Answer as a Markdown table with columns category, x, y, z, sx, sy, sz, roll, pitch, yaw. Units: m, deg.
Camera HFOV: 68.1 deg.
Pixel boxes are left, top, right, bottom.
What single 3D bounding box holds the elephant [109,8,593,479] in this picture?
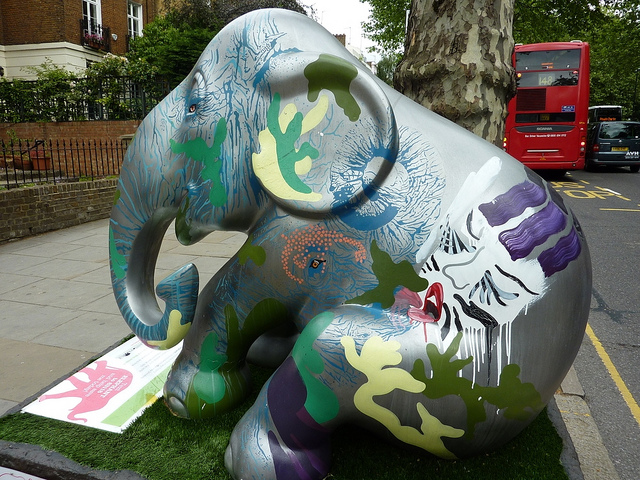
| category | x | y | z | sx | sy | sz | roll | pitch | yaw |
| --- | --- | --- | --- | --- | --- | --- | --- | --- | --- |
| elephant | 0.138 | 0.019 | 2.827 | 2.319 | 2.414 | 1.688 | 10 | 9 | 31 |

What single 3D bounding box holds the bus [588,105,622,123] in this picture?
| category | x | y | z | sx | sy | sz | roll | pitch | yaw |
| --- | --- | --- | --- | --- | --- | --- | --- | --- | --- |
| bus | 17.138 | -7.599 | 28.412 | 1.597 | 0.978 | 5.344 | 10 | 18 | 29 |
